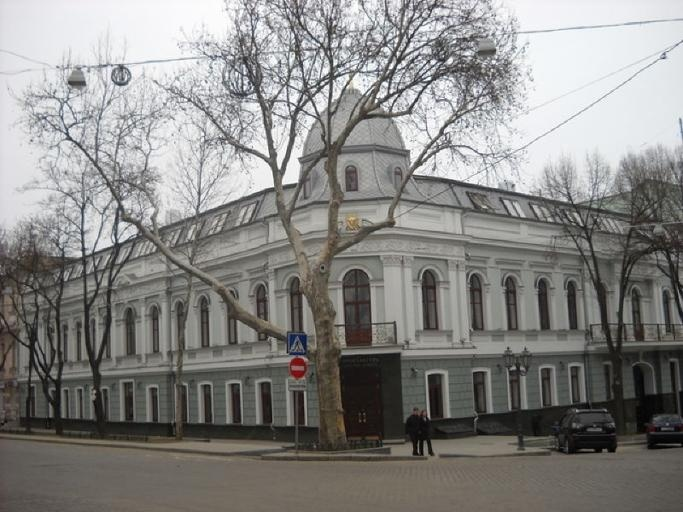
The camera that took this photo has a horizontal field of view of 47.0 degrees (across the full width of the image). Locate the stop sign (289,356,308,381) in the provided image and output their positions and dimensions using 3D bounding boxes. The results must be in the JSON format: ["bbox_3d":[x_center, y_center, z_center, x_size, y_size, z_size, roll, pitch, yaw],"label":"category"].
[{"bbox_3d":[-1.658,4.192,29.623,0.502,0.907,0.943,-4,-13,4],"label":"stop sign"}]

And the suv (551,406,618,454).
[{"bbox_3d":[9.623,6.921,31.085,1.649,1.752,2.035,-2,-13,-6],"label":"suv"}]
